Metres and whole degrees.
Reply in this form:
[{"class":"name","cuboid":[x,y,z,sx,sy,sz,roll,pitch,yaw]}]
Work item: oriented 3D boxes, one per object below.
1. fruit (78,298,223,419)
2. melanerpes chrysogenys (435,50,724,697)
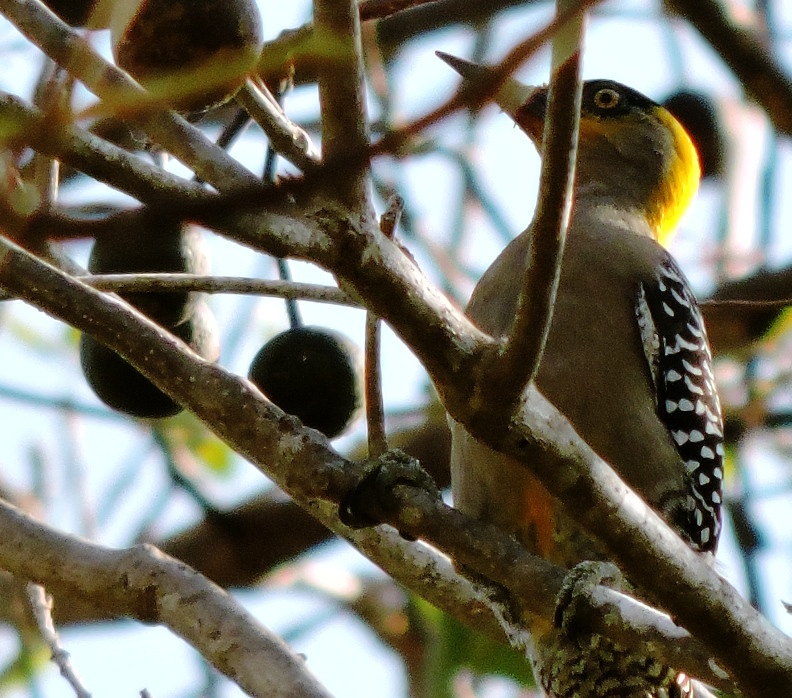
[{"class":"fruit","cuboid":[-0.585,0.023,4.390,0.276,0.394,0.306,5,1,-11]},{"class":"melanerpes chrysogenys","cuboid":[0.515,-0.016,4.911,0.696,2.362,1.311,0,-31,11]}]
